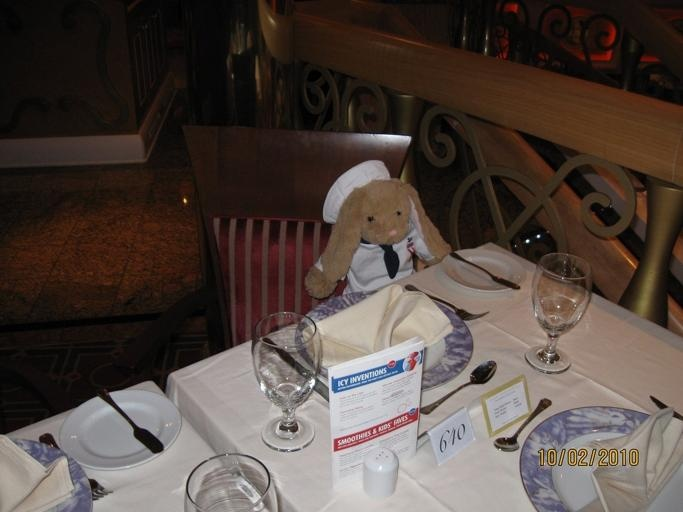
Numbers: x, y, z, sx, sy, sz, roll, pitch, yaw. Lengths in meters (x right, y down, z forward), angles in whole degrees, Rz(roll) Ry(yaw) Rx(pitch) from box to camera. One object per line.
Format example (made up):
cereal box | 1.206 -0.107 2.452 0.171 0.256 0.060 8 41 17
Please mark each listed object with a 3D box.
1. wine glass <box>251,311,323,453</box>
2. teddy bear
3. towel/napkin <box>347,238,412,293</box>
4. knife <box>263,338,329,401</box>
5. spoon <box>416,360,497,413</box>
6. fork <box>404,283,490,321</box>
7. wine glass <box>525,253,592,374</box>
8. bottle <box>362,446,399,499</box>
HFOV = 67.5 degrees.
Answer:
wine glass | -0.099 0.239 0.977 0.124 0.220 0.126 -3 4 -26
teddy bear | 0.103 -0.074 1.541 0.437 0.458 0.296 -17 42 -3
towel/napkin | 0.107 0.022 1.453 0.089 0.125 0.068 -22 49 -13
knife | -0.088 0.206 0.941 0.165 0.025 0.008 47 33 -5
spoon | 0.238 0.271 1.041 0.217 0.032 0.045 -24 20 -27
fork | 0.251 0.111 1.199 0.026 0.024 0.144 -12 29 -37
wine glass | 0.482 0.136 1.131 0.106 0.254 0.111 10 37 22
bottle | 0.066 0.367 0.882 0.057 0.071 0.063 4 23 7
